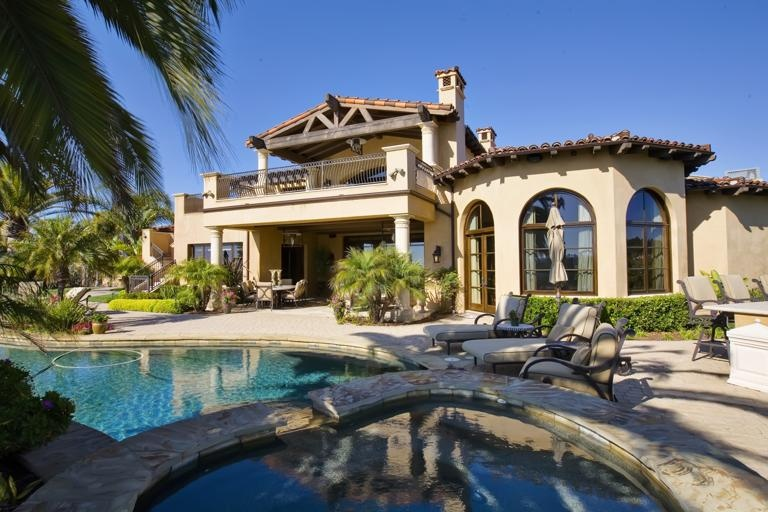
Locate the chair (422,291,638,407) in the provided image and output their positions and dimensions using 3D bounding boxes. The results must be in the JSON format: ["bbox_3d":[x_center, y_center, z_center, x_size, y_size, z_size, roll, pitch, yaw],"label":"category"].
[{"bbox_3d":[3.163,1.706,9.926,2.544,1.610,2.618,1,-4,-8],"label":"chair"}]

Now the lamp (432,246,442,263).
[{"bbox_3d":[1.872,-0.065,18.074,0.308,0.622,0.243,0,-4,10],"label":"lamp"}]

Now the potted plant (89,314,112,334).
[{"bbox_3d":[-7.977,1.893,14.769,0.528,0.510,0.523,0,-2,7],"label":"potted plant"}]
